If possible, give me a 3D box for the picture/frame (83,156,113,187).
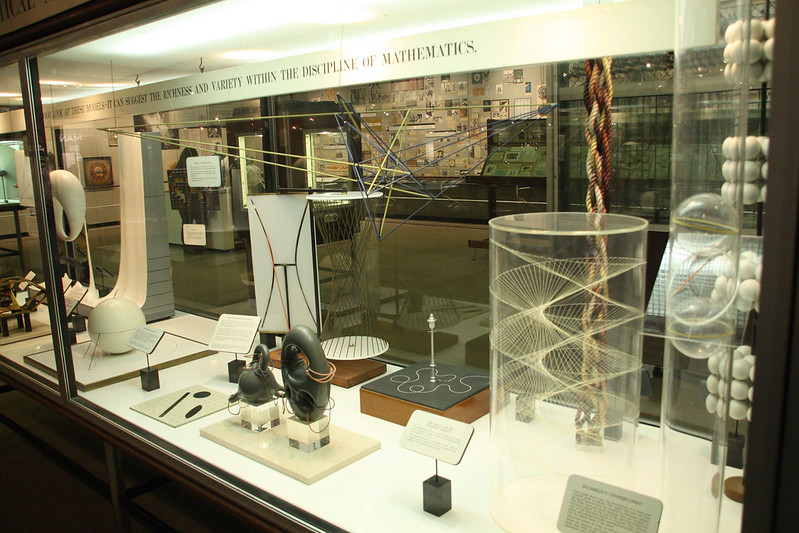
[{"bbox_3d":[-1.204,-0.382,2.433,0.116,0.124,0.014,-8,27,-20],"label":"picture/frame"}]
